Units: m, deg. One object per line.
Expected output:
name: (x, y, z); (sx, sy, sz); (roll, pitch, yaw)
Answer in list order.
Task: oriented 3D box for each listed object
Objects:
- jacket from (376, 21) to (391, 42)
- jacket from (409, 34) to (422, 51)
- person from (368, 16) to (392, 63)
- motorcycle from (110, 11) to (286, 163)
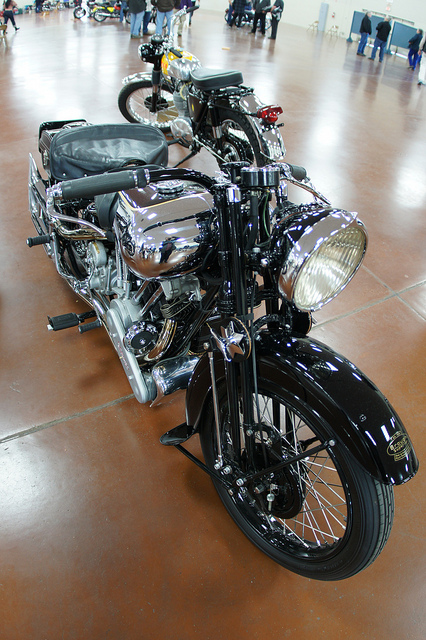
jacket: (3.507, -6.018, 9.982); (0.254, 0.340, 0.368); (13, 32, 5)
jacket: (4.088, -5.649, 9.744); (0.191, 0.286, 0.302); (20, 33, 15)
person: (3.591, -5.912, 10.087); (0.419, 1.199, 0.338); (-9, -17, 17)
motorcycle: (-0.150, -1.977, 4.219); (0.626, 1.218, 2.097); (-27, 48, -24)
